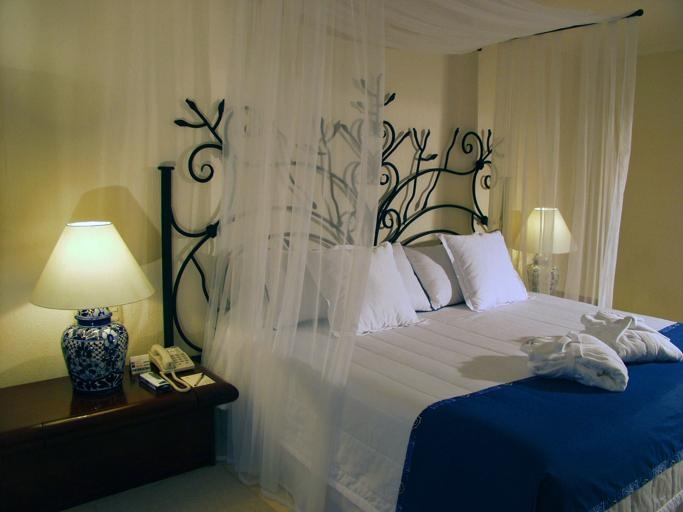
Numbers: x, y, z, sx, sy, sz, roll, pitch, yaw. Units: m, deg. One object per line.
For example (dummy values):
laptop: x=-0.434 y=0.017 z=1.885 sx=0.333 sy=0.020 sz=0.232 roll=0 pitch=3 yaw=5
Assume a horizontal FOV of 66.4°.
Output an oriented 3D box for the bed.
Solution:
bed: x=0.338 y=0.167 z=2.742 sx=2.219 sy=2.286 sz=0.789 roll=-8 pitch=12 yaw=-39

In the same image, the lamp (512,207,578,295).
lamp: x=1.487 y=0.011 z=3.842 sx=0.387 sy=0.692 sz=0.389 roll=1 pitch=3 yaw=22

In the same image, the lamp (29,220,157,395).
lamp: x=-1.233 y=0.162 z=2.899 sx=0.681 sy=1.124 sz=0.706 roll=-2 pitch=13 yaw=-9

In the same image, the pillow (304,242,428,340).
pillow: x=0.164 y=0.152 z=2.686 sx=0.154 sy=0.538 sz=0.530 roll=7 pitch=6 yaw=41

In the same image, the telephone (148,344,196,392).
telephone: x=-0.892 y=0.606 z=2.749 sx=0.147 sy=0.085 sz=0.328 roll=2 pitch=15 yaw=-45
